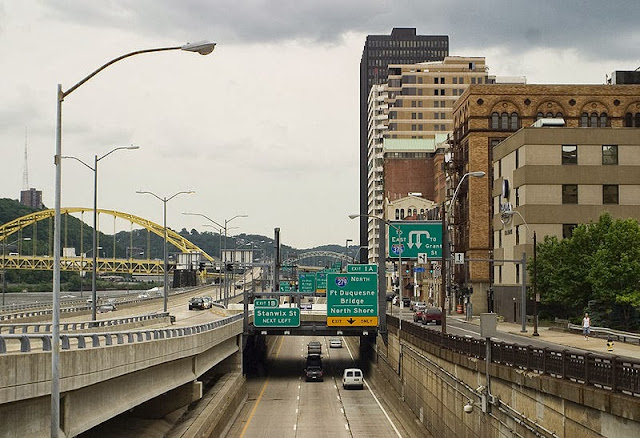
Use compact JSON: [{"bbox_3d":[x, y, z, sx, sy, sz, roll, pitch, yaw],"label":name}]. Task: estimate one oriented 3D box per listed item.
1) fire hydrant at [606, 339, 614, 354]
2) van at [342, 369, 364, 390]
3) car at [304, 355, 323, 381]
[{"bbox_3d":[21.864,9.633,65.472,0.621,1.163,0.401,1,-20,3],"label":"fire hydrant"},{"bbox_3d":[3.268,15.727,85.125,1.905,1.930,1.772,7,-1,-4],"label":"van"},{"bbox_3d":[-0.635,15.693,91.214,1.607,2.537,3.602,6,-1,-4],"label":"car"}]
